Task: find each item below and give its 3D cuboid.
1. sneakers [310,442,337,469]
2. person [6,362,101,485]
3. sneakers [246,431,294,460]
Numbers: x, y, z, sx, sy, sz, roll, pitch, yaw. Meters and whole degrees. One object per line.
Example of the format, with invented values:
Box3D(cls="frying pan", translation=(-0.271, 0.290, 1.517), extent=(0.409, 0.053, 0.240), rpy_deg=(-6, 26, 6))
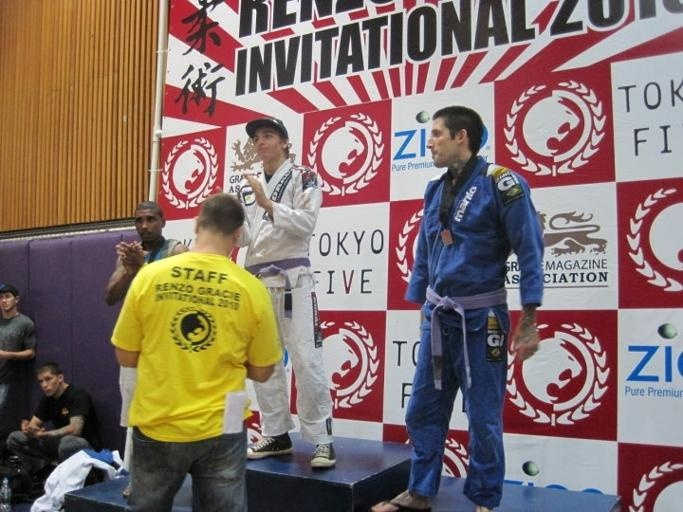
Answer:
Box3D(cls="sneakers", translation=(-0.118, 1.234, 5.651), extent=(0.162, 0.160, 0.152), rpy_deg=(2, 0, -5))
Box3D(cls="person", translation=(-2.299, 1.296, 7.232), extent=(0.729, 0.900, 0.544), rpy_deg=(2, 0, -23))
Box3D(cls="sneakers", translation=(-0.484, 1.236, 5.888), extent=(0.328, 0.163, 0.117), rpy_deg=(3, -6, -25))
